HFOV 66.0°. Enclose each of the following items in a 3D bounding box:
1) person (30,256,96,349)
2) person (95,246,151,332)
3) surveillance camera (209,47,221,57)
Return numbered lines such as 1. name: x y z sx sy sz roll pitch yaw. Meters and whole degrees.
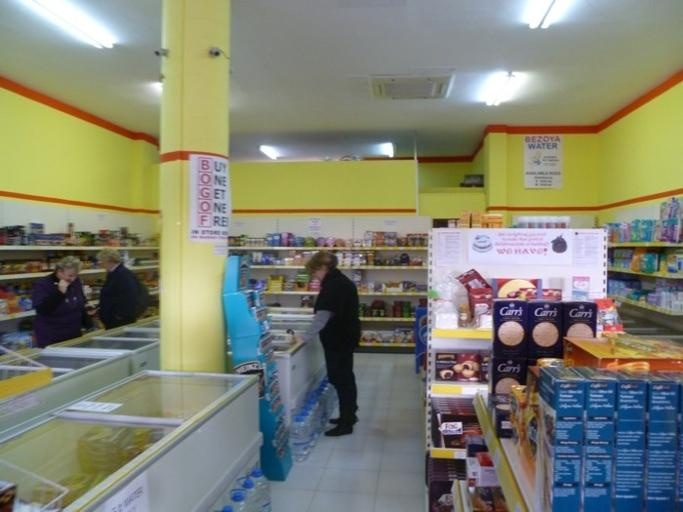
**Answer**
1. person: -2.869 0.439 5.352 0.571 0.854 0.316 -8 11 -40
2. person: -2.313 0.350 5.605 0.521 0.834 0.543 -8 11 -39
3. surveillance camera: -0.898 -1.430 3.698 0.081 0.058 0.042 -23 12 -6
